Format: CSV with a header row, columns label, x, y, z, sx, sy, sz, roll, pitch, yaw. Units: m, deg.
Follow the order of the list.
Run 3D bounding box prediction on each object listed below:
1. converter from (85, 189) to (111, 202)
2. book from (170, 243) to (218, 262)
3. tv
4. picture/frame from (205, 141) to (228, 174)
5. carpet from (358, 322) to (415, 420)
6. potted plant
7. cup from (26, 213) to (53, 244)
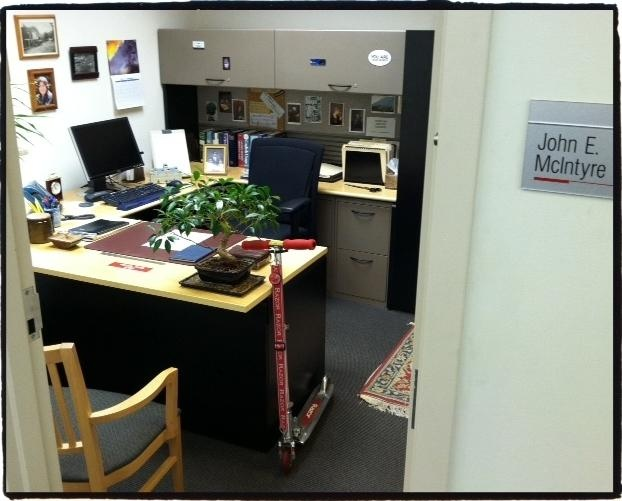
label,x,y,z,sx,sy,sz,roll,pitch,yaw
converter,-1.273,-0.329,2.867,0.086,0.033,0.112,6,21,13
book,-0.542,0.018,2.171,0.105,0.026,0.108,11,27,24
tv,-1.300,-0.588,3.009,0.208,0.428,0.419,9,23,29
picture/frame,-0.690,-0.670,3.512,0.232,0.309,0.029,0,-1,-3
carpet,0.391,0.650,2.515,0.244,0.040,0.704,12,34,22
potted plant,-0.479,-0.173,2.272,0.501,0.519,1.116,-5,18,-13
cup,-1.207,-0.094,2.140,0.121,0.141,0.123,2,10,0
